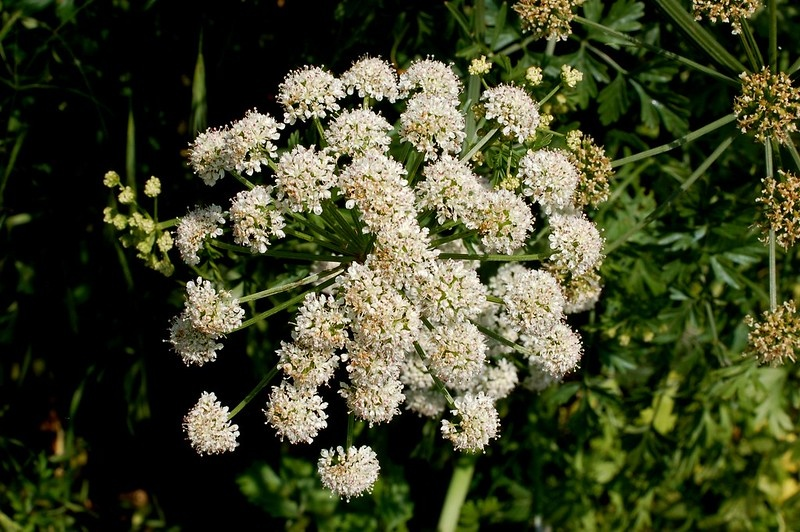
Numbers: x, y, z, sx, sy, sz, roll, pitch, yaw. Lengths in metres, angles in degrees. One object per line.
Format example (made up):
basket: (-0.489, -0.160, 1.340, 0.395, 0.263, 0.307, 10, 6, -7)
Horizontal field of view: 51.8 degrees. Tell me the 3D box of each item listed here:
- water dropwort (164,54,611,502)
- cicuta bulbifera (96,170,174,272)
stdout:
water dropwort: (-0.012, 0.015, 8.710, 4.038, 3.565, 2.752, -17, -6, -2)
cicuta bulbifera: (-2.716, -0.437, 8.541, 0.615, 1.209, 0.583, -8, 33, -13)
